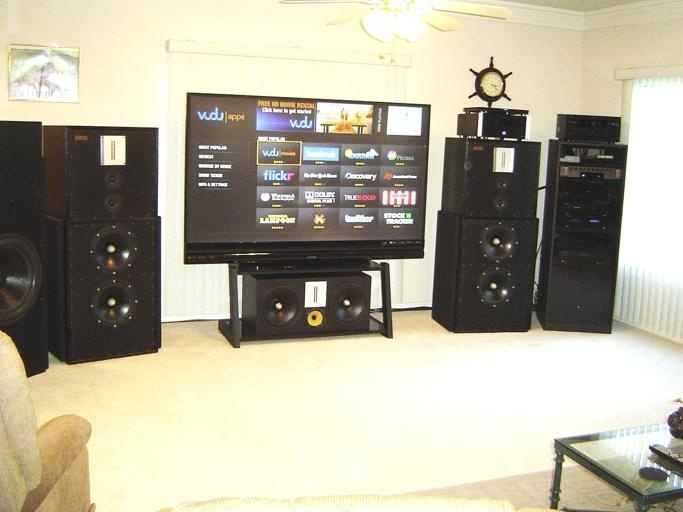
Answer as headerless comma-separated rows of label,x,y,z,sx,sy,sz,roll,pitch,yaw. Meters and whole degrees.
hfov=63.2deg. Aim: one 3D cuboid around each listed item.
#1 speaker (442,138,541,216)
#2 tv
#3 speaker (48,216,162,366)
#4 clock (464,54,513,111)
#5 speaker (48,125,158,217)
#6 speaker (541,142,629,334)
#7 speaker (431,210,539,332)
speaker,1.306,-0.656,5.025,0.724,0.656,0.711,1,7,-8
tv,-0.322,-0.619,4.344,1.429,0.921,0.029,-1,7,-13
speaker,-1.686,0.222,3.946,0.754,0.987,0.269,-4,13,-26
clock,1.317,-1.530,4.872,0.260,0.432,0.200,-8,16,-39
speaker,-1.744,-0.549,3.968,0.671,0.672,0.676,-3,10,-32
speaker,2.114,-0.151,4.819,0.585,1.628,0.205,3,12,3
speaker,1.249,0.145,4.830,0.848,0.994,0.388,4,12,7
